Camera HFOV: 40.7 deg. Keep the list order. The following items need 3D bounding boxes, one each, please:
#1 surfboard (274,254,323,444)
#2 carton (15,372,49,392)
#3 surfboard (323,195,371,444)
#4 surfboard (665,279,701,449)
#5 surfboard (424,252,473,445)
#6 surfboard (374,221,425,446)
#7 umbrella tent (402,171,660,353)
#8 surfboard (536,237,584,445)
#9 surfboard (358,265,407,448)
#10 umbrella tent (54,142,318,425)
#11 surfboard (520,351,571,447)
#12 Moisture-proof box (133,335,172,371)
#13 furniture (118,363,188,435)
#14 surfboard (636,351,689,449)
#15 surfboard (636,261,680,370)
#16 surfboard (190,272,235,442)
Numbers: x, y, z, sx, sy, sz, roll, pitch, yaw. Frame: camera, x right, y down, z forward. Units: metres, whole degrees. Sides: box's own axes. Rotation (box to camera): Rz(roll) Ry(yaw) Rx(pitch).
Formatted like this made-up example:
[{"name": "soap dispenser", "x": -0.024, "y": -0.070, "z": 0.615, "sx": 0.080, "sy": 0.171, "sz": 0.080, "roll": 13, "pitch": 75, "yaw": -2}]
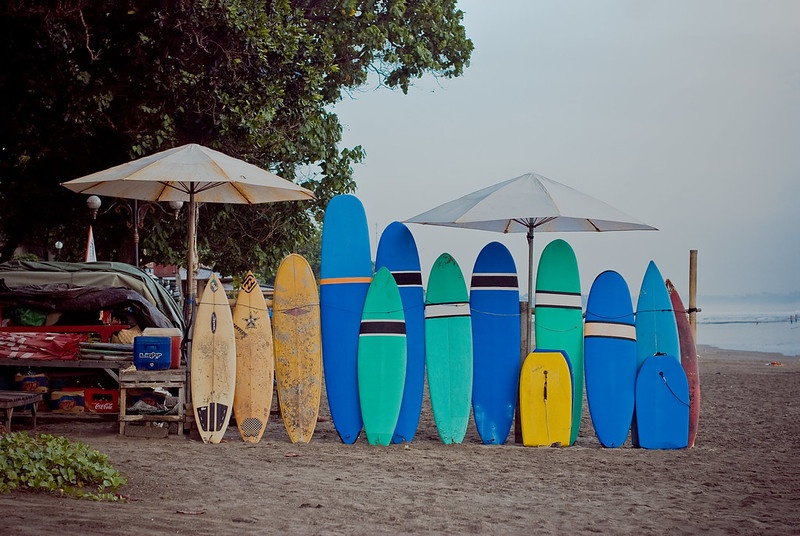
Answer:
[{"name": "surfboard", "x": -1.356, "y": 1.009, "z": 13.892, "sx": 0.581, "sy": 2.448, "sz": 0.315, "roll": -1, "pitch": -1, "yaw": -5}, {"name": "carton", "x": -4.818, "y": 1.485, "z": 14.077, "sx": 0.390, "sy": 0.250, "sz": 0.313, "roll": 8, "pitch": -1, "yaw": -10}, {"name": "surfboard", "x": -0.693, "y": 0.678, "z": 14.020, "sx": 0.687, "sy": 3.631, "sz": 0.378, "roll": 1, "pitch": -33, "yaw": -6}, {"name": "surfboard", "x": 3.755, "y": 1.174, "z": 14.186, "sx": 0.358, "sy": 2.443, "sz": 0.236, "roll": -13, "pitch": -15, "yaw": 36}, {"name": "surfboard", "x": 0.633, "y": 1.037, "z": 14.217, "sx": 0.530, "sy": 2.550, "sz": 0.266, "roll": -2, "pitch": -2, "yaw": 2}, {"name": "surfboard", "x": 0.101, "y": 0.804, "z": 14.121, "sx": 0.581, "sy": 2.973, "sz": 0.253, "roll": -2, "pitch": -6, "yaw": 18}, {"name": "umbrella tent", "x": 1.803, "y": -0.136, "z": 14.676, "sx": 2.844, "sy": 2.444, "sz": 3.269, "roll": -3, "pitch": 12, "yaw": -21}, {"name": "surfboard", "x": 2.081, "y": 0.435, "z": 14.197, "sx": 0.612, "sy": 0.318, "sz": 2.795, "roll": 2, "pitch": 26, "yaw": 7}, {"name": "surfboard", "x": -0.252, "y": 1.128, "z": 13.960, "sx": 0.613, "sy": 2.239, "sz": 0.154, "roll": 2, "pitch": -7, "yaw": -5}, {"name": "umbrella tent", "x": -2.843, "y": -0.517, "z": 14.639, "sx": 3.150, "sy": 2.448, "sz": 3.279, "roll": 7, "pitch": 8, "yaw": 28}, {"name": "surfboard", "x": 1.864, "y": 1.679, "z": 13.844, "sx": 0.625, "sy": 1.224, "sz": 0.271, "roll": 1, "pitch": 5, "yaw": 9}, {"name": "Moisture-proof box", "x": -3.149, "y": 1.070, "z": 13.630, "sx": 0.390, "sy": 0.396, "sz": 0.420, "roll": 0, "pitch": -4, "yaw": -4}, {"name": "furniture", "x": -3.143, "y": 1.661, "z": 13.683, "sx": 0.770, "sy": 0.827, "sz": 0.831, "roll": 1, "pitch": -2, "yaw": -4}, {"name": "surfboard", "x": 3.366, "y": 1.712, "z": 13.914, "sx": 0.663, "sy": 1.177, "sz": 0.152, "roll": 0, "pitch": -7, "yaw": 12}, {"name": "surfboard", "x": 3.368, "y": 0.675, "z": 14.259, "sx": 0.509, "sy": 2.038, "sz": 0.313, "roll": 0, "pitch": 39, "yaw": 16}, {"name": "surfboard", "x": -2.389, "y": 1.151, "z": 13.746, "sx": 0.588, "sy": 2.115, "sz": 0.243, "roll": 3, "pitch": -7, "yaw": -13}]
